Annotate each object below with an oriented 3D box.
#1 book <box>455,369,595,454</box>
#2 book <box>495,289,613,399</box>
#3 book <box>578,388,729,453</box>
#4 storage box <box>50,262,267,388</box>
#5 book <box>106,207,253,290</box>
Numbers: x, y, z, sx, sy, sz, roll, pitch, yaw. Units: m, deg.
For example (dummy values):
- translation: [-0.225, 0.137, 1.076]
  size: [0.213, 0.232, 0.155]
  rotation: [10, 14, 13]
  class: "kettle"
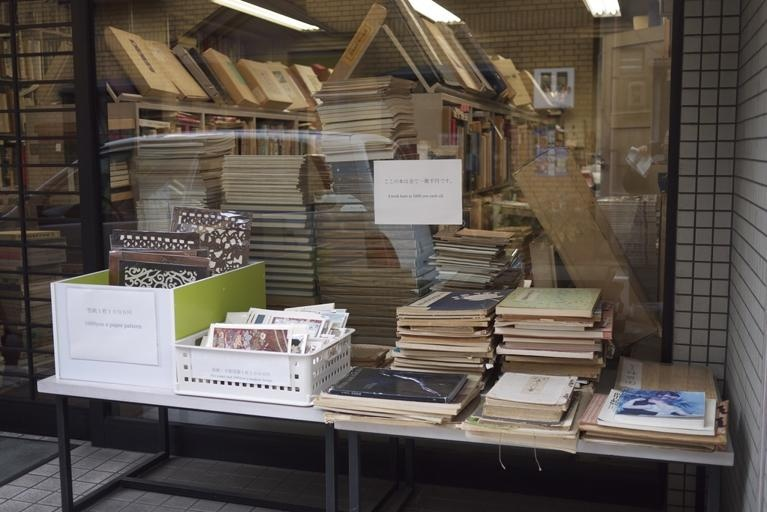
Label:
- translation: [0.498, 0.573, 2.379]
  size: [0.360, 0.084, 0.340]
  rotation: [2, 18, 15]
  class: "book"
- translation: [0.731, 0.364, 2.793]
  size: [0.452, 0.205, 0.450]
  rotation: [2, 9, 16]
  class: "book"
- translation: [0.976, 0.602, 2.349]
  size: [0.517, 0.111, 0.239]
  rotation: [0, 9, 15]
  class: "book"
- translation: [-1.037, 0.251, 2.872]
  size: [0.636, 0.325, 0.617]
  rotation: [4, 7, 21]
  class: "storage box"
- translation: [-0.966, -0.029, 2.989]
  size: [0.476, 0.262, 0.465]
  rotation: [3, 5, 25]
  class: "book"
